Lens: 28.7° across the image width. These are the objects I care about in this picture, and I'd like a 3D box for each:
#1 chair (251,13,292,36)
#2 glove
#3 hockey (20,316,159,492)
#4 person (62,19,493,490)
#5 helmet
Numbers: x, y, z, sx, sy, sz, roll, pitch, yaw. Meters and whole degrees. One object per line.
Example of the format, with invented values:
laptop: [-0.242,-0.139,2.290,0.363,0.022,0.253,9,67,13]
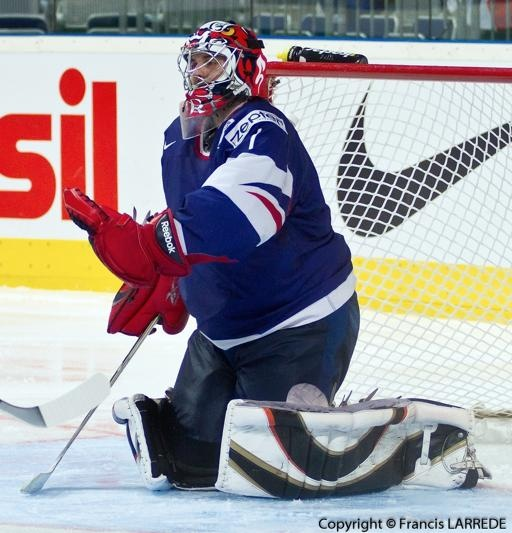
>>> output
chair: [0.070,-1.135,4.765,0.216,0.099,0.133,3,-3,1]
glove: [-0.341,-0.009,2.614,0.365,0.155,0.488,-4,38,-13]
hockey: [-0.513,0.435,3.077,0.050,0.566,0.083,50,-23,-26]
person: [-0.085,-0.037,2.699,0.718,1.215,0.596,0,14,5]
helmet: [-0.086,-0.547,2.798,0.304,0.275,0.254,-10,15,-25]
